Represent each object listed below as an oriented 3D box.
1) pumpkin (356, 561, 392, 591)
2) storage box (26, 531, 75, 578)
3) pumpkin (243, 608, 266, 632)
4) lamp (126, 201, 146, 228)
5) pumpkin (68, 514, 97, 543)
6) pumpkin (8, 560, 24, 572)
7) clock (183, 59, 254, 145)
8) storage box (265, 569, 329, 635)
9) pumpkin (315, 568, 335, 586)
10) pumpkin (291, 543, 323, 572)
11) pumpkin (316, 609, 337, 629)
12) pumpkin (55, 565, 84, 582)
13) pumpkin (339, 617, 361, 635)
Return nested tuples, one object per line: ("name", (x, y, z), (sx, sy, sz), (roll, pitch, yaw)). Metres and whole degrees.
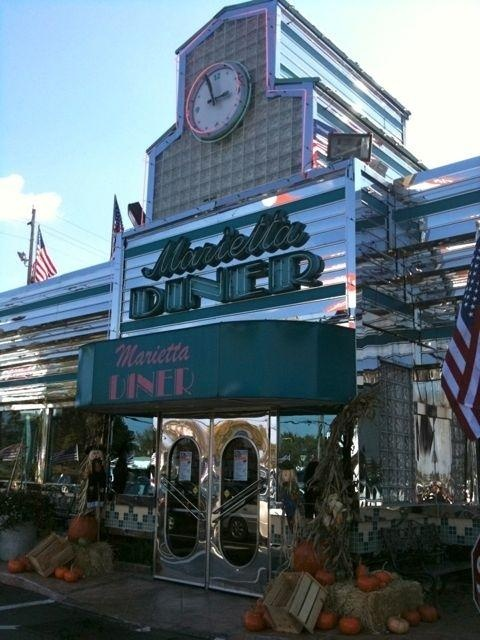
("pumpkin", (1.323, 2.644, 5.884), (0.233, 0.216, 0.235), (-6, -7, 42))
("storage box", (-2.948, 3.670, 8.920), (0.277, 0.389, 0.494), (-44, -5, 37))
("pumpkin", (0.149, 3.006, 5.712), (0.214, 0.148, 0.317), (-3, -14, 14))
("lamp", (-2.432, -2.439, 13.389), (0.326, 0.759, 0.880), (5, -14, -16))
("pumpkin", (-2.592, 3.458, 9.459), (0.487, 0.425, 0.573), (4, -14, -12))
("pumpkin", (-3.447, 3.781, 8.832), (0.191, 0.178, 0.187), (1, -11, 12))
("clock", (-0.484, -4.533, 11.835), (1.603, 1.616, 0.372), (-11, -18, 39))
("storage box", (0.503, 2.809, 5.684), (0.552, 0.561, 0.343), (-16, -61, 48))
("pumpkin", (0.901, 2.710, 6.030), (0.132, 0.125, 0.125), (6, -12, -23))
("pumpkin", (0.708, 2.643, 6.388), (0.322, 0.365, 0.311), (1, -29, -1))
("pumpkin", (0.847, 2.962, 5.682), (0.156, 0.138, 0.151), (6, -15, -30))
("pumpkin", (-2.480, 3.714, 8.362), (0.247, 0.118, 0.236), (5, -14, 31))
("pumpkin", (1.046, 2.923, 5.488), (0.204, 0.137, 0.225), (-6, -15, 24))
